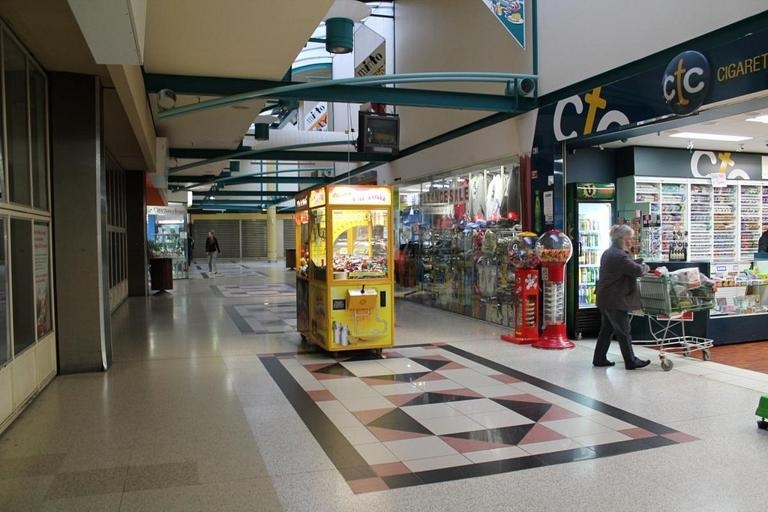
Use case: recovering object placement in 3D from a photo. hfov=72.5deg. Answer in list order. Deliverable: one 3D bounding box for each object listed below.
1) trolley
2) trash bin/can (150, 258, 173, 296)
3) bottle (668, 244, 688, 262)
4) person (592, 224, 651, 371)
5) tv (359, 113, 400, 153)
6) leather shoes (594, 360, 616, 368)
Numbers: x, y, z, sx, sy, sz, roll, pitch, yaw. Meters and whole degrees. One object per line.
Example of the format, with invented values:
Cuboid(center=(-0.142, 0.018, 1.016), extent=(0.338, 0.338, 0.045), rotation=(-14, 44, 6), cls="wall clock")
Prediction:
Cuboid(center=(4.200, 0.832, 7.877), extent=(1.232, 1.438, 1.000), rotation=(-5, 3, -23), cls="trolley")
Cuboid(center=(-6.666, 0.541, 15.773), extent=(0.662, 0.977, 0.609), rotation=(0, 4, -8), cls="trash bin/can")
Cuboid(center=(5.094, -0.054, 9.145), extent=(0.259, 0.350, 0.259), rotation=(4, -5, 0), cls="bottle")
Cuboid(center=(3.238, 0.712, 7.207), extent=(0.641, 1.634, 0.365), rotation=(2, 6, 24), cls="person")
Cuboid(center=(-0.122, -2.736, 11.593), extent=(0.890, 0.835, 0.471), rotation=(-1, 3, -19), cls="tv")
Cuboid(center=(3.041, 1.489, 7.300), extent=(0.317, 0.124, 0.112), rotation=(0, -2, -12), cls="leather shoes")
